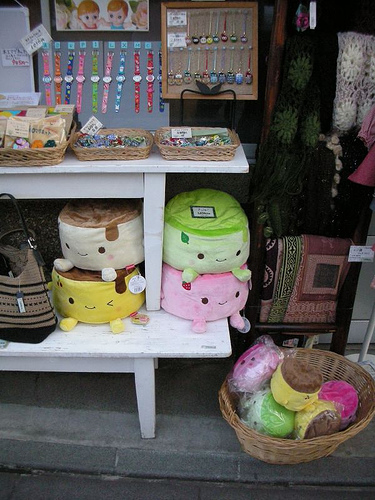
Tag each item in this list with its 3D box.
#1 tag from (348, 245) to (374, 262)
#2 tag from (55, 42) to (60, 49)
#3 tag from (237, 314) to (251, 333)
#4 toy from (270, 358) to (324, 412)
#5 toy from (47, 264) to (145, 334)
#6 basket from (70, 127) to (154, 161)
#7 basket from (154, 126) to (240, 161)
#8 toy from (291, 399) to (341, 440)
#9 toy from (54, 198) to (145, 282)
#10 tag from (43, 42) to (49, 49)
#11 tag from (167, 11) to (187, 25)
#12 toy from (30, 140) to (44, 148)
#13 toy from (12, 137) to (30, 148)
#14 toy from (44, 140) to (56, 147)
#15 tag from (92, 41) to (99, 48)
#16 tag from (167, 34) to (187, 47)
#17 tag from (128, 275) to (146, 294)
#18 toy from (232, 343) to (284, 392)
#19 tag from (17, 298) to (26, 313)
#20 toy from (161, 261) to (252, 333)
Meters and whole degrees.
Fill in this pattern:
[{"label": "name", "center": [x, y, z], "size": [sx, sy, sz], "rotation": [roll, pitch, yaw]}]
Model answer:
[{"label": "tag", "center": [0.801, 0.013, 1.946], "size": [0.086, 0.055, 0.009], "rotation": [-1, 19, 4]}, {"label": "tag", "center": [-0.584, -0.919, 1.870], "size": [0.020, 0.026, 0.012], "rotation": [2, 29, 0]}, {"label": "tag", "center": [0.275, 0.358, 1.979], "size": [0.019, 0.073, 0.074], "rotation": [1, 27, -23]}, {"label": "toy", "center": [0.405, 0.512, 1.587], "size": [0.163, 0.161, 0.156], "rotation": [23, 35, 35]}, {"label": "toy", "center": [-0.403, 0.177, 1.904], "size": [0.497, 0.219, 0.414], "rotation": [-2, 18, 6]}, {"label": "basket", "center": [-0.308, -0.441, 1.720], "size": [0.334, 0.074, 0.362], "rotation": [-4, 27, -11]}, {"label": "basket", "center": [0.030, -0.448, 1.713], "size": [0.347, 0.093, 0.353], "rotation": [2, 26, 1]}, {"label": "toy", "center": [0.484, 0.667, 1.620], "size": [0.186, 0.168, 0.134], "rotation": [-8, 19, -5]}, {"label": "toy", "center": [-0.386, -0.066, 1.782], "size": [0.435, 0.232, 0.387], "rotation": [-9, 26, -12]}, {"label": "tag", "center": [-0.635, -0.918, 1.862], "size": [0.035, 0.036, 0.004], "rotation": [2, 35, -4]}, {"label": "tag", "center": [-0.048, -0.986, 1.762], "size": [0.062, 0.039, 0.008], "rotation": [-1, 20, -2]}, {"label": "toy", "center": [-0.564, -0.400, 1.564], "size": [0.038, 0.034, 0.034], "rotation": [-6, -17, 0]}, {"label": "toy", "center": [-0.623, -0.402, 1.553], "size": [0.064, 0.054, 0.015], "rotation": [3, -2, -9]}, {"label": "toy", "center": [-0.517, -0.403, 1.573], "size": [0.028, 0.026, 0.010], "rotation": [20, 2, 4]}, {"label": "tag", "center": [-0.414, -0.925, 1.873], "size": [0.029, 0.025, 0.026], "rotation": [-3, 28, -11]}, {"label": "tag", "center": [-0.046, -0.896, 1.773], "size": [0.062, 0.039, 0.006], "rotation": [-1, 8, 6]}, {"label": "tag", "center": [-0.222, 0.143, 1.792], "size": [0.069, 0.067, 0.009], "rotation": [-39, 40, -8]}, {"label": "toy", "center": [0.284, 0.502, 1.797], "size": [0.186, 0.076, 0.249], "rotation": [12, 41, 45]}, {"label": "tag", "center": [-0.650, 0.213, 1.631], "size": [0.024, 0.076, 0.016], "rotation": [-4, 30, -11]}, {"label": "toy", "center": [0.070, 0.192, 1.870], "size": [0.356, 0.208, 0.341], "rotation": [-8, 22, -26]}]
